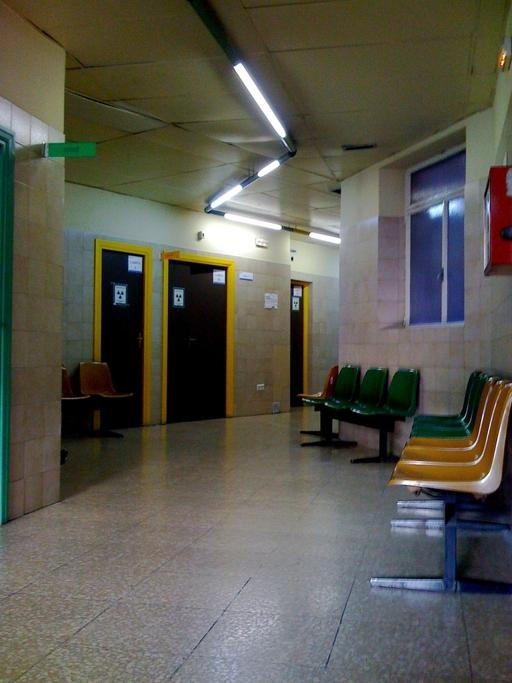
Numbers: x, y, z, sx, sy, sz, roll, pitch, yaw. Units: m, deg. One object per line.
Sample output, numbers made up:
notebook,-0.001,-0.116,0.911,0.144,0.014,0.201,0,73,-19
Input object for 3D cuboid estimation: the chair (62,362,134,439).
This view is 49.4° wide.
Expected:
chair,-1.778,0.655,6.165,0.697,1.060,0.784,5,-9,-39
